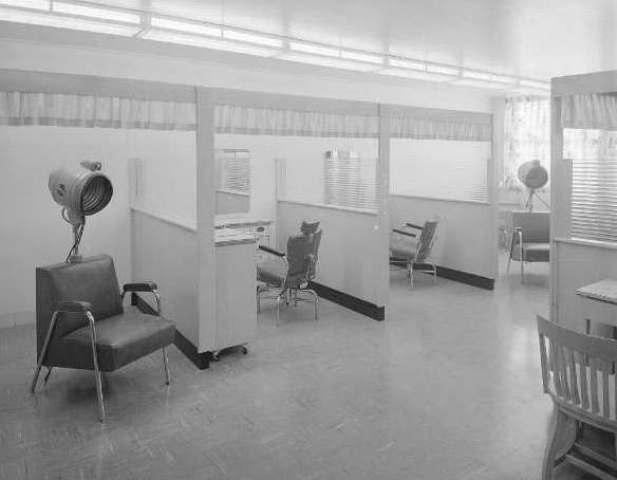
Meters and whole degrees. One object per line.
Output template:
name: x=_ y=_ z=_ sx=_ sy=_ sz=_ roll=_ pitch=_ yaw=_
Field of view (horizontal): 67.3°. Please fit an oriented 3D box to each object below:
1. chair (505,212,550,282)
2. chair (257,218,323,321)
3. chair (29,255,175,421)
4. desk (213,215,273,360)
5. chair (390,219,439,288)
chair: x=3.221 y=0.079 z=6.658 sx=0.636 sy=0.864 sz=0.677 roll=0 pitch=9 yaw=3
chair: x=-0.267 y=0.323 z=5.610 sx=0.809 sy=1.189 sz=0.824 roll=-1 pitch=9 yaw=-18
chair: x=-1.645 y=0.707 z=3.777 sx=0.894 sy=1.025 sz=0.796 roll=6 pitch=7 yaw=19
desk: x=-0.642 y=0.467 z=4.487 sx=0.360 sy=1.148 sz=1.166 roll=-2 pitch=8 yaw=-20
chair: x=1.403 y=0.146 z=6.652 sx=0.783 sy=0.951 sz=0.801 roll=-1 pitch=9 yaw=-36
